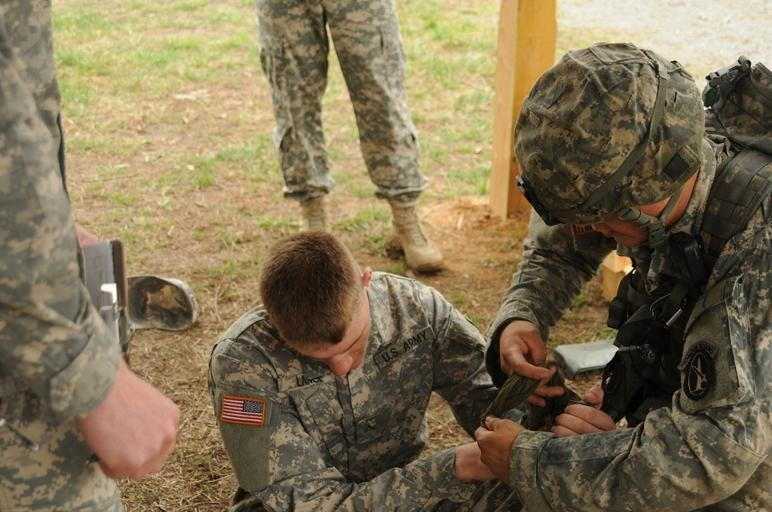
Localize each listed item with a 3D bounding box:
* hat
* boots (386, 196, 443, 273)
[{"bbox_3d":[-1.313,0.276,5.274,0.428,0.288,0.164,7,19,-5],"label":"hat"},{"bbox_3d":[0.175,-0.124,5.873,0.176,0.333,0.478,-33,51,-9],"label":"boots"}]
